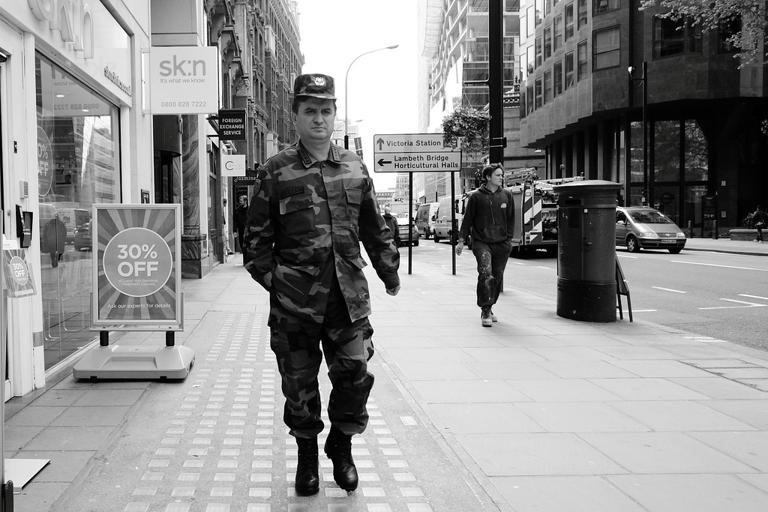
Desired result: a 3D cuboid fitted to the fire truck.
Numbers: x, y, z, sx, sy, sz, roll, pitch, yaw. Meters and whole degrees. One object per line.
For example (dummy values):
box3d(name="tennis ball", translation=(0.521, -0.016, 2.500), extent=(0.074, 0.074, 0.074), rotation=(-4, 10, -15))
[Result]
box3d(name="fire truck", translation=(3.020, -1.353, 24.080), extent=(3.141, 2.987, 5.227), rotation=(5, 5, 44))

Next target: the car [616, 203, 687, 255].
box3d(name="car", translation=(10.972, -1.066, 27.030), extent=(1.703, 1.719, 2.570), rotation=(-1, 6, -13))

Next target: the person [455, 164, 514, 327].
box3d(name="person", translation=(1.567, -0.188, 9.932), extent=(0.725, 2.420, 0.854), rotation=(2, 5, 22))

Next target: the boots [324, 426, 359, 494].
box3d(name="boots", translation=(-0.288, 1.426, 4.707), extent=(0.366, 0.391, 0.299), rotation=(0, -1, 26))

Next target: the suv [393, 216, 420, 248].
box3d(name="suv", translation=(1.459, -1.400, 38.779), extent=(1.046, 1.104, 2.235), rotation=(0, -2, -5))

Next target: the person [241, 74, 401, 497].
box3d(name="person", translation=(-0.423, 0.216, 4.789), extent=(1.145, 2.965, 0.738), rotation=(-1, 1, -3))

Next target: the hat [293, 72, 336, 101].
box3d(name="hat", translation=(-0.505, -1.199, 4.679), extent=(0.311, 0.178, 0.188), rotation=(0, 5, 0))
